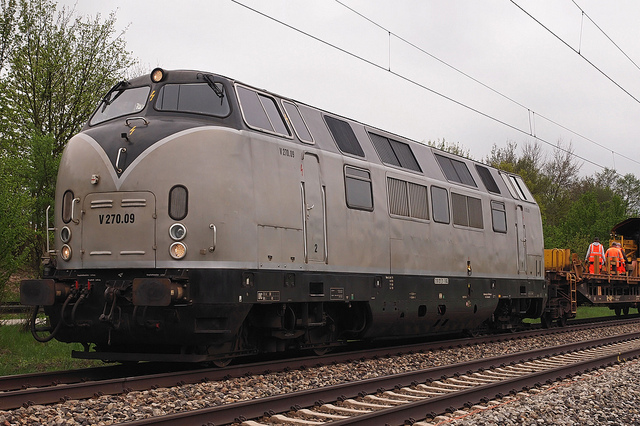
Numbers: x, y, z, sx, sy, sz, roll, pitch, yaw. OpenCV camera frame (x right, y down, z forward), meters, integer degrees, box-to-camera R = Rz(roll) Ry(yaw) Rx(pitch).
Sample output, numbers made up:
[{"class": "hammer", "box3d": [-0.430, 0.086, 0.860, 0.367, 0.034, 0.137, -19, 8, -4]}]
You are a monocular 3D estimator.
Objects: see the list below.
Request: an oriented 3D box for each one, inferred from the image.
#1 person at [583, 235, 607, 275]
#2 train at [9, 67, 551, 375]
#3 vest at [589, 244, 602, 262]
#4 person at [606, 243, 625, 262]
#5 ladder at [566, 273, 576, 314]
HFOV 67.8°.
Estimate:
[{"class": "person", "box3d": [14.088, 2.417, 24.428, 0.909, 2.434, 0.486, 1, -19, 33]}, {"class": "train", "box3d": [2.989, 0.723, 18.633, 6.637, 8.483, 24.340, -6, -7, 40]}, {"class": "vest", "box3d": [14.040, 1.991, 24.406, 0.890, 0.890, 0.437, 11, -16, -44]}, {"class": "person", "box3d": [15.790, 2.191, 25.682, 0.752, 1.281, 0.291, 6, 4, 27]}, {"class": "ladder", "box3d": [11.579, 3.648, 21.967, 0.231, 1.830, 0.983, -10, -15, 38]}]
